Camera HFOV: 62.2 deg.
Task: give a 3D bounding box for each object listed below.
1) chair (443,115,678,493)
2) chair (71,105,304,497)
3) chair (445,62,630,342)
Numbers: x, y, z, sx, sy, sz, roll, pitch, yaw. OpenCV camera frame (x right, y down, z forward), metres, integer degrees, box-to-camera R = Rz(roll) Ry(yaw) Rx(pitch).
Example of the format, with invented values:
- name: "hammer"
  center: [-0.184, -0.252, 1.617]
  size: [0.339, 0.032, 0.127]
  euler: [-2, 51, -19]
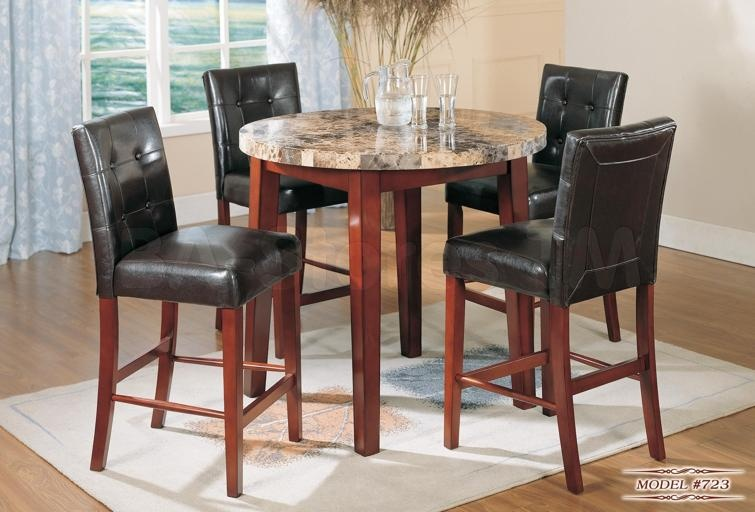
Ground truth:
- name: "chair"
  center: [0.598, 0.137, 2.190]
  size: [0.700, 1.193, 0.519]
  euler: [8, 21, 29]
- name: "chair"
  center: [-0.652, 0.119, 2.205]
  size: [0.680, 1.232, 0.611]
  euler: [3, 19, 17]
- name: "chair"
  center: [0.808, -0.283, 3.145]
  size: [0.747, 1.194, 0.578]
  euler: [-17, 24, -18]
